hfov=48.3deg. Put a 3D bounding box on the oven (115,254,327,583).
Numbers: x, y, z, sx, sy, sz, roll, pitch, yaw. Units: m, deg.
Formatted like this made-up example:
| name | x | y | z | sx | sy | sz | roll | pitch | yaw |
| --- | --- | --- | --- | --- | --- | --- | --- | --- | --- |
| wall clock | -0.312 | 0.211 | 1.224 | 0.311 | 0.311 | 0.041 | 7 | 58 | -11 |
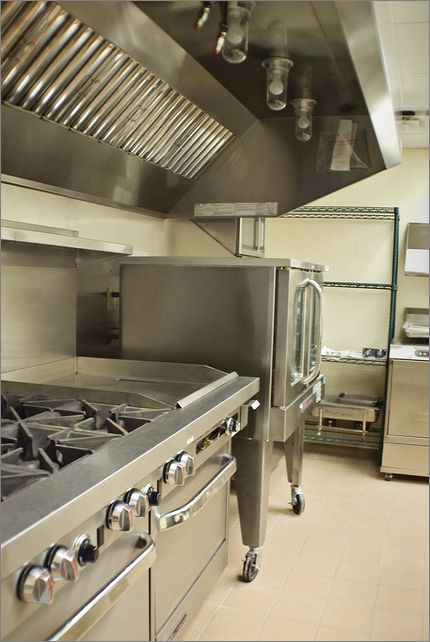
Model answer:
| name | x | y | z | sx | sy | sz | roll | pitch | yaw |
| --- | --- | --- | --- | --- | --- | --- | --- | --- | --- |
| oven | 0.081 | 0.384 | 2.453 | 0.949 | 1.389 | 0.963 | 3 | 5 | 8 |
